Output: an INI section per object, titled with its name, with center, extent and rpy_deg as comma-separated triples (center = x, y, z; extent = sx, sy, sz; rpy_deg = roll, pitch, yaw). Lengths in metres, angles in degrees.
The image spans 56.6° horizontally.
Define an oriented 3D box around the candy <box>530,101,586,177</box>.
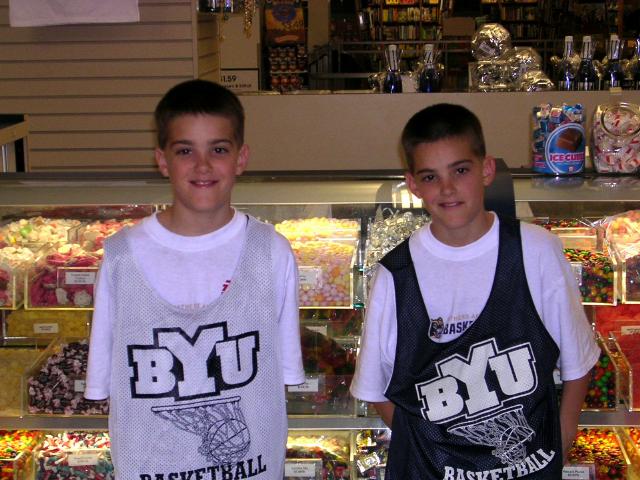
[candy]
center = 0.832, -0.382, 2.259
extent = 0.230, 0.282, 0.239
rpy_deg = -3, 8, 2
